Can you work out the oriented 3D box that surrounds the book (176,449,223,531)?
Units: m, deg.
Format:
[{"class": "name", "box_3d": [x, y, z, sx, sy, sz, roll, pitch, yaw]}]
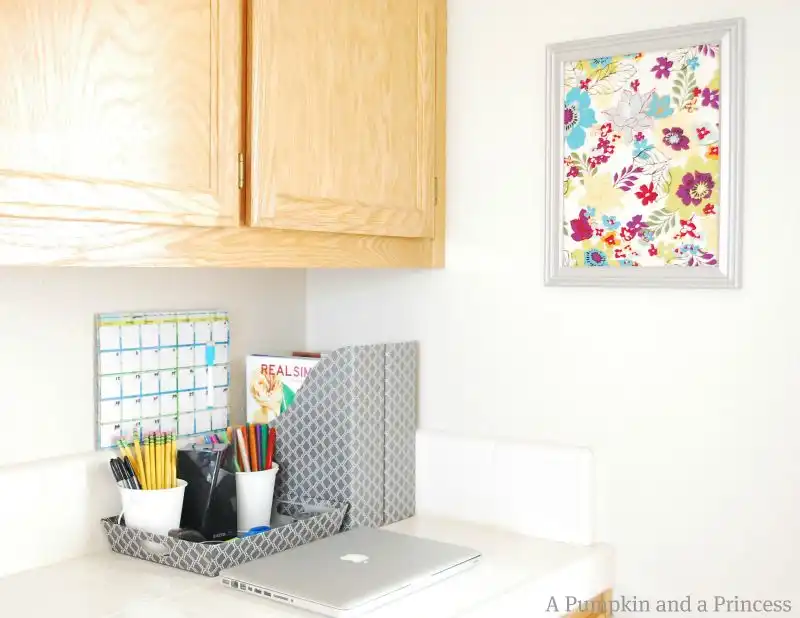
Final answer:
[{"class": "book", "box_3d": [-0.433, 0.399, 1.410, 0.108, 0.168, 0.108, -8, -20, 35]}]

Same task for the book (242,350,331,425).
[{"class": "book", "box_3d": [-0.276, 0.197, 1.583, 0.178, 0.165, 0.057, -3, -4, 35]}]
